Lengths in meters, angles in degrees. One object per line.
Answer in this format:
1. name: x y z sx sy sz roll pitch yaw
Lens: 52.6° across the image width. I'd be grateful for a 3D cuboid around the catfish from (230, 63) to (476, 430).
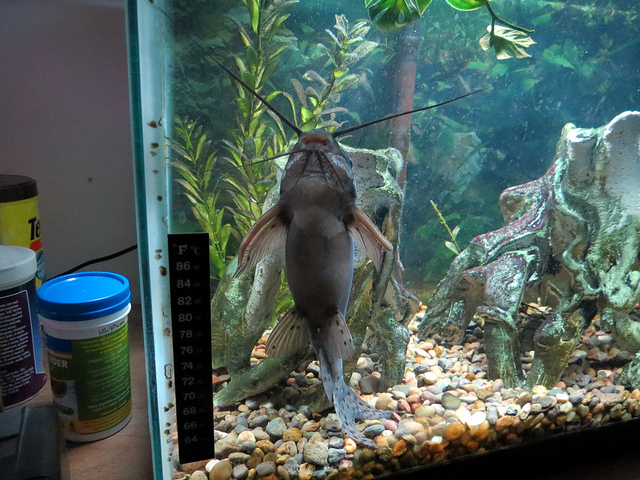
1. catfish: -0.020 0.030 1.570 0.562 0.888 0.232 5 17 9
